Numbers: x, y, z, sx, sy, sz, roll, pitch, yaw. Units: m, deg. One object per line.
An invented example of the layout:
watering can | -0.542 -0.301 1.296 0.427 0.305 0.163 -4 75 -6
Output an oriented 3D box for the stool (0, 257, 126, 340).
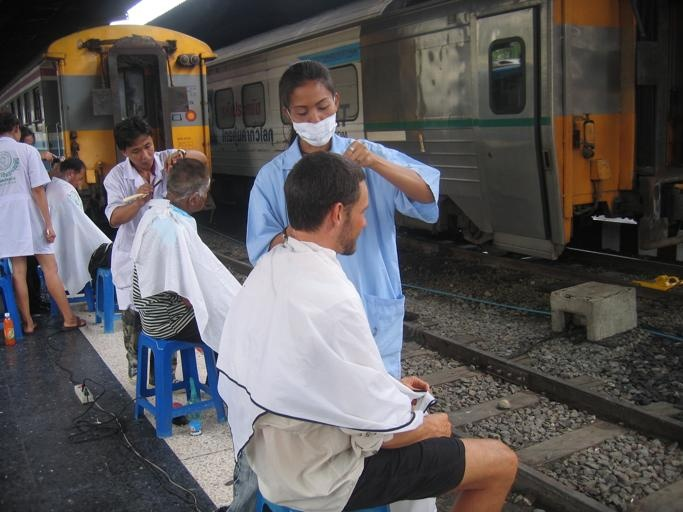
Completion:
stool | -3.150 0.519 6.274 1.065 0.884 1.072 -2 1 -34

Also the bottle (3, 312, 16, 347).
bottle | -3.508 0.765 5.895 0.113 0.323 0.241 -8 9 -33

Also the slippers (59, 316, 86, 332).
slippers | -3.005 0.779 6.250 0.242 0.095 0.127 -11 17 -36

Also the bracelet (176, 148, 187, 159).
bracelet | -1.398 -0.898 4.892 0.097 0.059 0.140 1 6 -27

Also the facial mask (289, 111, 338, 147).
facial mask | -0.141 -0.674 3.023 0.233 0.161 0.215 -4 8 -5

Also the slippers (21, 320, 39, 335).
slippers | -3.470 0.795 6.230 0.080 0.117 0.274 0 10 -15

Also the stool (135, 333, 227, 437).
stool | -1.260 0.947 4.463 0.705 0.928 0.733 0 -2 -25

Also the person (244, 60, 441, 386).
person | 0.032 0.130 3.346 1.104 2.591 0.850 -9 35 -3
